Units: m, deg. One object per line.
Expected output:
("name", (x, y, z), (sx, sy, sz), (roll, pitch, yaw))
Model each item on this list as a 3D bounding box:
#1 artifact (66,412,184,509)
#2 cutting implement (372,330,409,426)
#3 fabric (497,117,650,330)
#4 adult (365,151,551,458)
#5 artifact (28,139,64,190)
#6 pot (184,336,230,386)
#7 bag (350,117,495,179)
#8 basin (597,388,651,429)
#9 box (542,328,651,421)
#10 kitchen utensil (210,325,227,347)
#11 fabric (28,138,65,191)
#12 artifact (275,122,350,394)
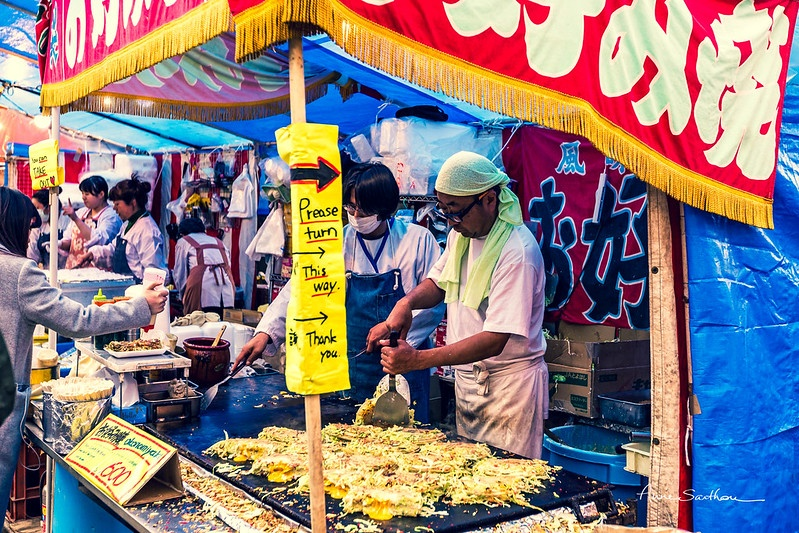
("artifact", (-1.626, 1.092, 5.029), (0.375, 0.291, 0.803), (7, 3, -44))
("cutting implement", (-0.051, 0.773, 5.541), (0.210, 0.564, 0.051), (0, -41, 0))
("fabric", (1.413, -0.282, 6.727), (0.092, 1.970, 1.821), (-4, 4, -39))
("adult", (0.450, 0.653, 5.881), (1.149, 2.692, 1.152), (-2, 15, 2))
("artifact", (-2.629, -0.711, 6.265), (0.080, 0.349, 0.349), (7, 19, 13))
("pot", (-1.361, 0.684, 6.063), (0.324, 0.286, 0.330), (5, -2, 0))
("bag", (0.286, -1.108, 7.630), (0.718, 0.301, 0.718), (1, 3, -18))
("basin", (1.786, 1.110, 6.599), (0.328, 0.143, 0.430), (3, -1, -33))
("box", (1.743, 0.907, 7.404), (0.760, 0.457, 0.756), (9, -17, -28))
("kitchen utensil", (-1.391, 0.526, 6.567), (0.027, 0.145, 0.019), (22, -13, 14))
("fabric", (-2.631, -0.714, 6.271), (0.076, 0.349, 0.353), (7, 18, 13))
("artifact", (-0.461, -0.002, 4.360), (0.306, 1.374, 0.304), (-14, 22, -42))
